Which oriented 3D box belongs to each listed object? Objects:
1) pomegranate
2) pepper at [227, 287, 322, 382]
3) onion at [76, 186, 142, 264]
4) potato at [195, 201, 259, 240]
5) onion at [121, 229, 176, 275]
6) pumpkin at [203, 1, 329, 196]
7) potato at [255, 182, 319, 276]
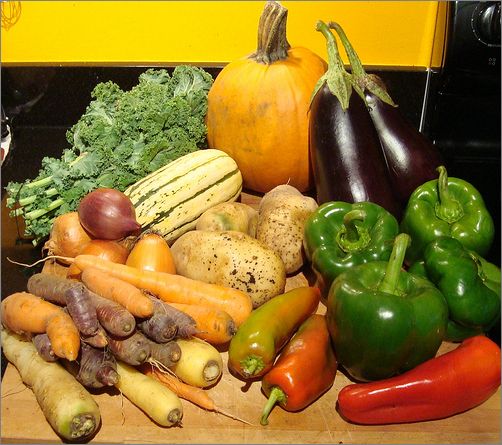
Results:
[{"bbox_3d":[-0.718,0.037,1.906,0.121,0.222,0.162,1,6,22],"label":"pomegranate"},{"bbox_3d":[0.103,0.360,1.603,0.166,0.190,0.417,-23,9,46],"label":"pepper"},{"bbox_3d":[-0.545,-0.041,1.883,0.234,0.228,0.205,27,33,18],"label":"onion"},{"bbox_3d":[-0.113,-0.040,1.910,0.141,0.187,0.297,13,19,37],"label":"potato"},{"bbox_3d":[-0.366,0.069,1.718,0.108,0.178,0.140,17,25,36],"label":"onion"},{"bbox_3d":[0.063,-0.613,2.414,0.543,0.968,0.651,1,27,3],"label":"pumpkin"},{"bbox_3d":[0.111,-0.012,1.846,0.173,0.377,0.285,-7,22,-21],"label":"potato"}]
